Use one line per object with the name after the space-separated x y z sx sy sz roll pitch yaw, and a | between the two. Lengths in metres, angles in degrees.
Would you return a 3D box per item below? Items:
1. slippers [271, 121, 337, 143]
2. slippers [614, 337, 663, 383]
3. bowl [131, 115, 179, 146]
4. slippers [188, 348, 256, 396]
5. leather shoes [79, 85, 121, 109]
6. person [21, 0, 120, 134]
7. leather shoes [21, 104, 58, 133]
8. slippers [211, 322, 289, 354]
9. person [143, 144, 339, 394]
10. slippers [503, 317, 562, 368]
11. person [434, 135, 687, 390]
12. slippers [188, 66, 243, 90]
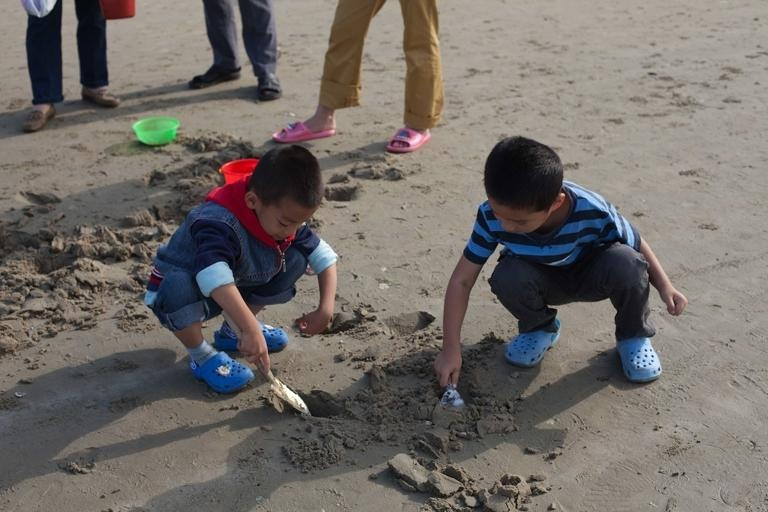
-0.656 -1.031 6.229 0.507 0.151 0.187 -6 24 -15 | slippers
1.430 0.575 4.210 0.166 0.115 0.286 -9 38 4 | slippers
-1.877 -1.048 6.226 0.371 0.155 0.355 1 34 -1 | bowl
-0.912 0.664 4.228 0.337 0.130 0.194 14 36 23 | slippers
-2.560 -1.449 6.856 0.468 0.192 0.145 11 40 14 | leather shoes
-2.750 -1.696 6.461 0.428 0.950 1.036 25 41 29 | person
-2.917 -1.196 6.406 0.146 0.143 0.369 9 34 -6 | leather shoes
-0.770 0.463 4.507 0.504 0.209 0.161 -1 40 -2 | slippers
-0.746 0.055 4.146 0.810 1.213 0.916 27 43 32 | person
0.882 0.481 4.407 0.168 0.161 0.408 22 30 37 | slippers
0.922 0.029 4.099 1.255 1.220 0.640 1 36 -1 | person
-1.621 -1.758 7.354 0.581 0.213 0.199 -16 30 -22 | slippers
